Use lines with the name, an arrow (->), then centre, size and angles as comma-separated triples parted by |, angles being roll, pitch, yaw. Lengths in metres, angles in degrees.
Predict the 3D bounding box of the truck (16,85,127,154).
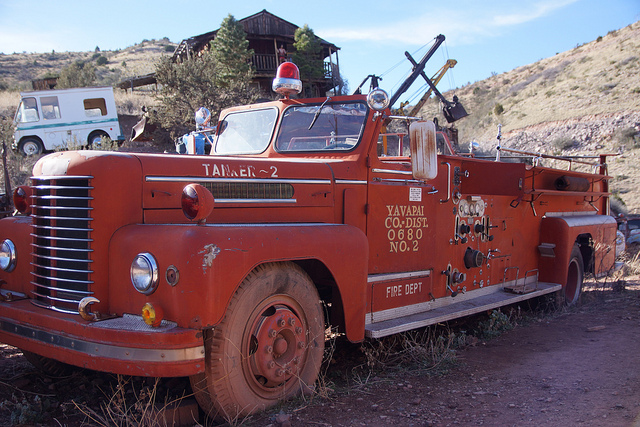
truck -> -11.774, -4.312, 23.979 | 4.797, 2.865, 2.842 | -6, 0, -30

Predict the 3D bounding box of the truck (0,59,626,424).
truck -> 1.134, 0.458, 8.725 | 4.558, 4.166, 10.712 | -3, -5, 43

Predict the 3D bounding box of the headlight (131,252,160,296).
headlight -> -1.785, 0.612, 5.146 | 0.397, 0.430, 0.154 | -6, -2, 40
